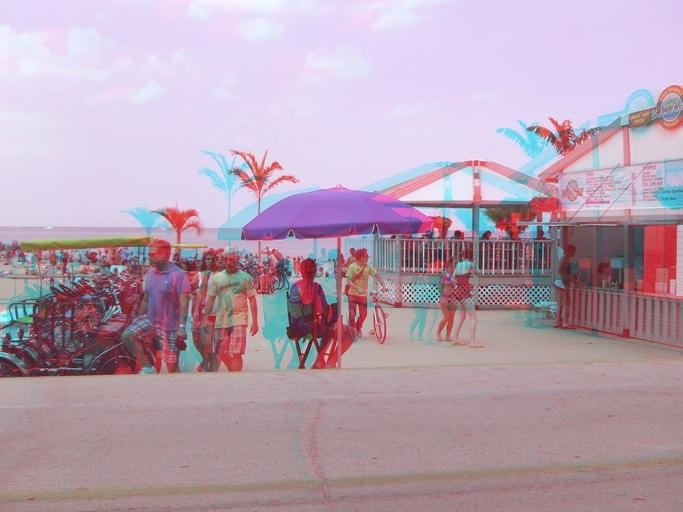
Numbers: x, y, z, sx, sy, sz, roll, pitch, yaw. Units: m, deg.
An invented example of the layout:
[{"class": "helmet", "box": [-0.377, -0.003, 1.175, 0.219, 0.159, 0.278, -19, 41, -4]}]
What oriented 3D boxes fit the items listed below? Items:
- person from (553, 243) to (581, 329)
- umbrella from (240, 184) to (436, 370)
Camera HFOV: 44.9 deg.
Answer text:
[{"class": "person", "box": [5.015, 0.747, 18.477, 0.406, 1.614, 1.162, 2, 4, 14]}, {"class": "umbrella", "box": [0.153, 0.157, 12.882, 2.150, 2.349, 2.294, -1, 1, 17]}]
